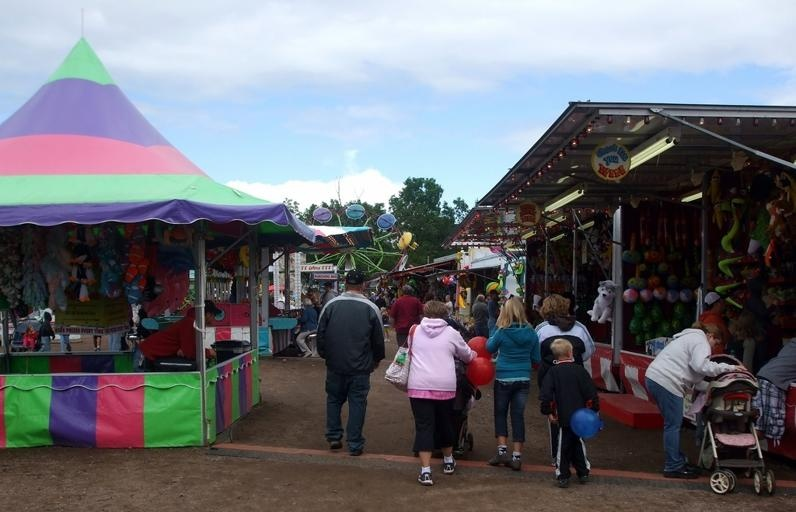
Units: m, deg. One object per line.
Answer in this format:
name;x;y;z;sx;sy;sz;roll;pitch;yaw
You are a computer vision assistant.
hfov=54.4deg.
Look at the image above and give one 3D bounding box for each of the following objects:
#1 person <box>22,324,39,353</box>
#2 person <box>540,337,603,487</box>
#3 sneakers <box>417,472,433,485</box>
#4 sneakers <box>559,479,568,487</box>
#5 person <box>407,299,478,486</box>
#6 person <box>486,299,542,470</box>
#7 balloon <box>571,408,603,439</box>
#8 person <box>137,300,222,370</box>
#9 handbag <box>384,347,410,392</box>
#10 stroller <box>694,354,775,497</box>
person;-8.868;2.025;18.560;0.333;0.680;1.012;-3;8;-26
person;2.239;2.055;10.144;0.763;1.853;0.539;2;8;10
sneakers;0.355;2.909;10.139;0.100;0.115;0.257;-1;-2;1
sneakers;2.148;2.953;10.059;0.065;0.057;0.138;0;-2;7
person;0.449;1.800;10.512;0.738;2.335;1.077;7;10;38
person;1.574;1.760;10.797;0.706;2.283;0.638;3;8;16
balloon;2.429;2.167;9.990;0.415;0.311;0.318;15;-31;-29
person;-3.529;1.112;12.117;1.191;0.616;1.196;-18;-10;6
handbag;0.073;1.584;10.708;0.367;0.560;0.214;3;-18;42
stroller;4.430;2.186;10.200;0.829;1.631;1.007;2;7;5
